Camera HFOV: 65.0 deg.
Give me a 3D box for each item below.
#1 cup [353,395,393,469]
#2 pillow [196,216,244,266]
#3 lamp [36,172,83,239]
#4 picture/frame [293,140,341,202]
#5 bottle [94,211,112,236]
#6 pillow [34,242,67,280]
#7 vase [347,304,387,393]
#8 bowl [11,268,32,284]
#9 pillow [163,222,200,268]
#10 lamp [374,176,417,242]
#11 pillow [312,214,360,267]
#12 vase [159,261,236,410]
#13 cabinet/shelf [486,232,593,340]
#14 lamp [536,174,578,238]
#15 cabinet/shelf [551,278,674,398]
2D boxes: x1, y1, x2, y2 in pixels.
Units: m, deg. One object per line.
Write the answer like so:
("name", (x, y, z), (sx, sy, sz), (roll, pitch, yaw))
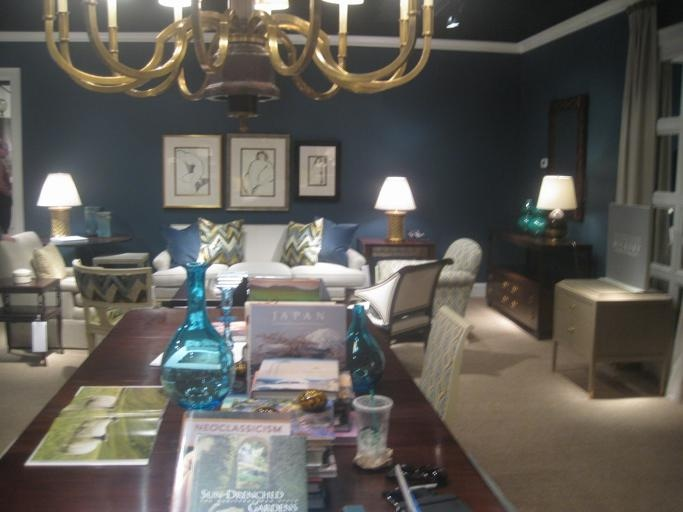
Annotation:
("cup", (0.090, 0.475, 1.513), (0.113, 0.192, 0.162), (1, 11, 4))
("pillow", (-1.329, -0.139, 5.838), (0.576, 0.609, 0.232), (1, -15, -18))
("lamp", (-3.092, -0.549, 5.852), (0.394, 0.686, 0.478), (-8, 14, -39))
("picture/frame", (-0.310, -1.047, 6.412), (0.675, 0.891, 0.062), (1, 8, 0))
("bottle", (-2.701, -0.366, 6.084), (0.176, 0.268, 0.438), (-4, 12, -23))
("pillow", (-2.574, 0.051, 4.716), (0.141, 0.260, 0.315), (-4, 12, 1))
("vase", (0.072, 0.306, 1.876), (0.176, 0.264, 0.183), (-2, 12, 16))
("bowl", (-2.547, 0.167, 4.297), (0.111, 0.092, 0.158), (1, -3, 6))
("pillow", (-1.695, -0.108, 5.685), (0.452, 0.458, 0.136), (-13, -4, -31))
("lamp", (0.637, -0.540, 6.218), (0.429, 0.741, 0.583), (3, 11, 14))
("pillow", (-0.089, -0.162, 6.117), (0.491, 0.548, 0.207), (12, -13, -5))
("vase", (-0.430, 0.264, 1.671), (0.242, 0.468, 0.232), (0, 7, 1))
("cabinet/shelf", (1.883, 0.304, 5.071), (0.396, 0.754, 1.000), (1, 5, -4))
("lamp", (2.090, -0.466, 5.218), (0.336, 0.617, 0.554), (5, 12, 21))
("cabinet/shelf", (2.007, 0.586, 4.043), (0.658, 0.805, 0.543), (-1, 11, -7))
